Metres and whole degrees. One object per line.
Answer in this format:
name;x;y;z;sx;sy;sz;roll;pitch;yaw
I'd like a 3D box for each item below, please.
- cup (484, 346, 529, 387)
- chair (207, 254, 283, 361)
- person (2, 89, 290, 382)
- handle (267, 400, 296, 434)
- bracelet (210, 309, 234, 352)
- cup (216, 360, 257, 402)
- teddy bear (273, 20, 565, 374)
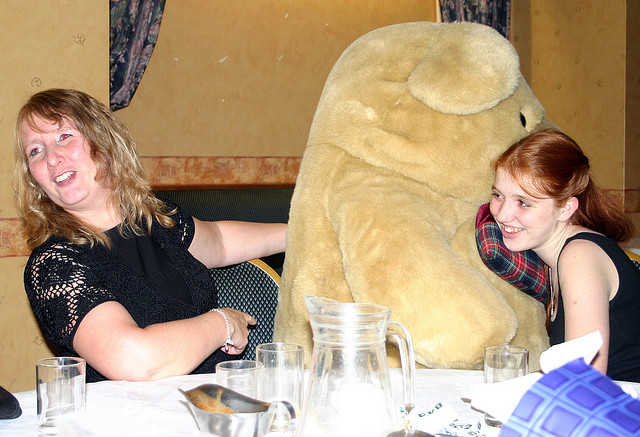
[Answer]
cup;0.371;0.289;1.181;0.081;0.092;0.087;1;-6;0
chair;-0.233;0.295;1.956;0.289;0.354;0.302;6;-9;-31
person;-0.537;0.008;1.656;0.716;0.730;0.662;-5;14;-1
handle;-0.067;0.367;1.133;0.056;0.069;0.068;3;-1;-13
bracelet;-0.261;0.305;1.619;0.029;0.120;0.062;-15;18;-37
cup;-0.162;0.322;1.208;0.071;0.080;0.079;1;-1;2
teddy bear;0.148;-0.087;2.031;0.852;1.233;0.945;2;-1;-9
